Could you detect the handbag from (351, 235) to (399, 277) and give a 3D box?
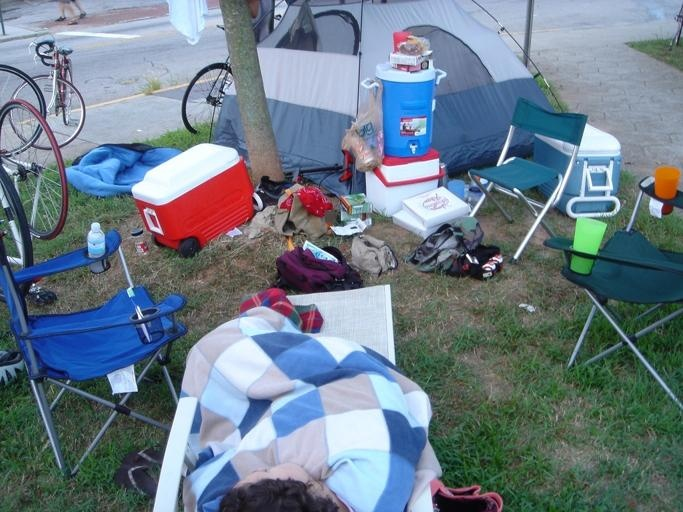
[{"bbox_3d":[0.274,-0.017,4.990,0.363,0.170,0.291,25,52,19],"label":"handbag"}]

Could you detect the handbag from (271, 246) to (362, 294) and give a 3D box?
[{"bbox_3d":[-0.234,0.153,4.756,0.812,0.252,0.405,11,40,17],"label":"handbag"}]

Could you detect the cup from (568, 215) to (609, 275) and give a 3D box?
[{"bbox_3d":[1.709,-0.065,3.889,0.222,0.411,0.293,16,41,17],"label":"cup"}]

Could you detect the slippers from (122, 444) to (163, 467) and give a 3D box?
[{"bbox_3d":[-1.269,1.248,3.571,0.244,0.048,0.163,-5,39,-3],"label":"slippers"}]

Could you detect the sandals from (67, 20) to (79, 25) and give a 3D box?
[{"bbox_3d":[-7.635,-6.590,15.939,0.244,0.069,0.439,-16,41,-15],"label":"sandals"}]

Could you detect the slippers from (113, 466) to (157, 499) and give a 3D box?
[{"bbox_3d":[-1.266,1.346,3.468,0.297,0.062,0.166,10,41,16],"label":"slippers"}]

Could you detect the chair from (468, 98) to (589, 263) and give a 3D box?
[{"bbox_3d":[1.743,-0.681,5.332,0.932,1.418,0.881,-24,40,-28],"label":"chair"}]
